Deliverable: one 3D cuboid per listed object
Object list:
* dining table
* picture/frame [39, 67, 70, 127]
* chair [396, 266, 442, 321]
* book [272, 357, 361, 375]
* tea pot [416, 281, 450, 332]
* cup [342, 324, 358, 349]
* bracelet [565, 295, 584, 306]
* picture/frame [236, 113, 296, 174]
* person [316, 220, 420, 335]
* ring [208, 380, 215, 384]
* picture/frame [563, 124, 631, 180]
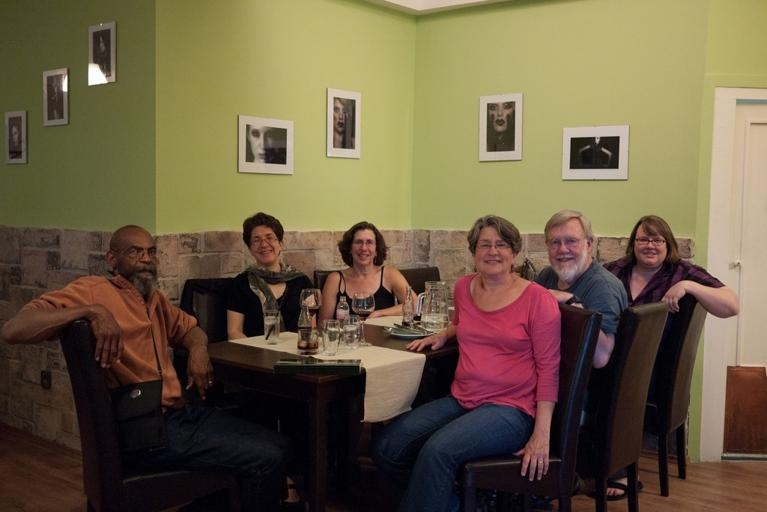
[{"bbox_3d":[-0.376,0.673,3.179,0.912,0.674,1.243,1,1,34],"label":"dining table"},{"bbox_3d":[-2.383,-1.163,4.303,0.415,0.633,0.025,2,2,32],"label":"picture/frame"},{"bbox_3d":[0.310,0.211,4.976,0.303,0.323,0.180,-8,4,-26],"label":"chair"},{"bbox_3d":[-0.322,0.551,2.956,0.427,0.066,0.173,0,4,0],"label":"book"},{"bbox_3d":[0.348,0.316,3.760,0.172,0.304,0.292,3,3,23],"label":"tea pot"},{"bbox_3d":[-0.187,0.445,3.233,0.112,0.162,0.112,1,-1,0],"label":"cup"},{"bbox_3d":[1.011,0.254,3.161,0.078,0.053,0.076,-13,-42,36],"label":"bracelet"},{"bbox_3d":[-0.916,-0.851,4.488,0.499,0.444,0.018,-1,2,-42],"label":"picture/frame"},{"bbox_3d":[-0.158,0.145,4.573,0.647,0.892,0.726,-2,-6,-6],"label":"person"},{"bbox_3d":[-0.904,0.666,3.107,0.027,0.028,0.028,1,-2,0],"label":"ring"},{"bbox_3d":[1.716,-0.824,4.713,0.424,0.378,0.016,3,0,26],"label":"picture/frame"}]
